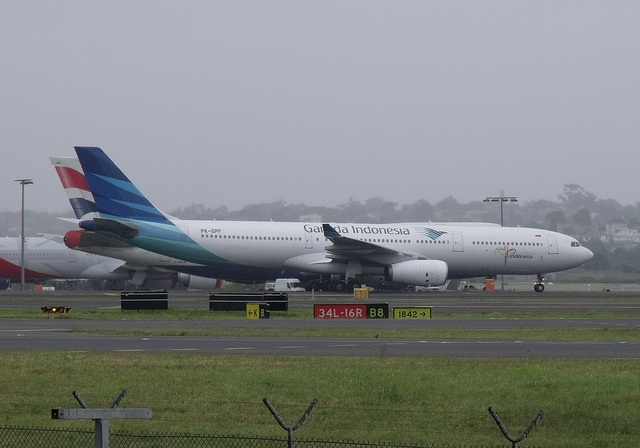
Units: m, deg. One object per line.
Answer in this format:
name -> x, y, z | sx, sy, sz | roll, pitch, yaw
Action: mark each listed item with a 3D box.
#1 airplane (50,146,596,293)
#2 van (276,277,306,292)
airplane -> -0.079, 0.277, 70.575 | 34.175, 7.900, 15.143 | 3, -7, -23
van -> -2.221, 4.356, 77.058 | 1.098, 0.728, 1.836 | 0, -3, -39
